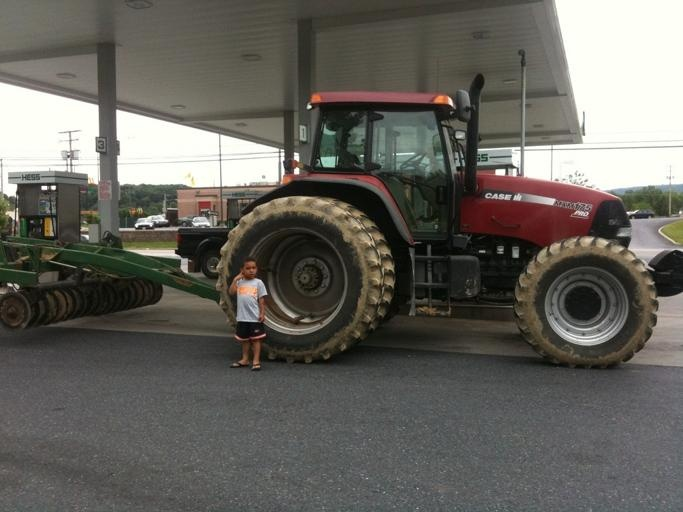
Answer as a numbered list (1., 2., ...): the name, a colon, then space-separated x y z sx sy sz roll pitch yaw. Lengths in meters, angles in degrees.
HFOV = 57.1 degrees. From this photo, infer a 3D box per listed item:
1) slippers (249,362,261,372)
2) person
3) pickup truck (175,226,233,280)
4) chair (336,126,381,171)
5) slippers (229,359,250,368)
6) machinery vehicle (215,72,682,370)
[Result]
1. slippers: -0.989 1.256 7.248 0.109 0.072 0.144 -1 7 -9
2. person: -1.107 0.647 7.403 0.410 1.267 0.620 -1 7 -10
3. pickup truck: -3.810 -0.087 17.610 2.415 1.375 1.385 -1 0 8
4. chair: 0.179 -1.413 8.086 0.624 0.737 0.499 -5 16 -18
5. slippers: -1.195 1.254 7.343 0.204 0.066 0.080 4 -3 -12
6. machinery vehicle: 1.595 -0.572 8.806 5.740 3.625 3.117 -1 3 6
